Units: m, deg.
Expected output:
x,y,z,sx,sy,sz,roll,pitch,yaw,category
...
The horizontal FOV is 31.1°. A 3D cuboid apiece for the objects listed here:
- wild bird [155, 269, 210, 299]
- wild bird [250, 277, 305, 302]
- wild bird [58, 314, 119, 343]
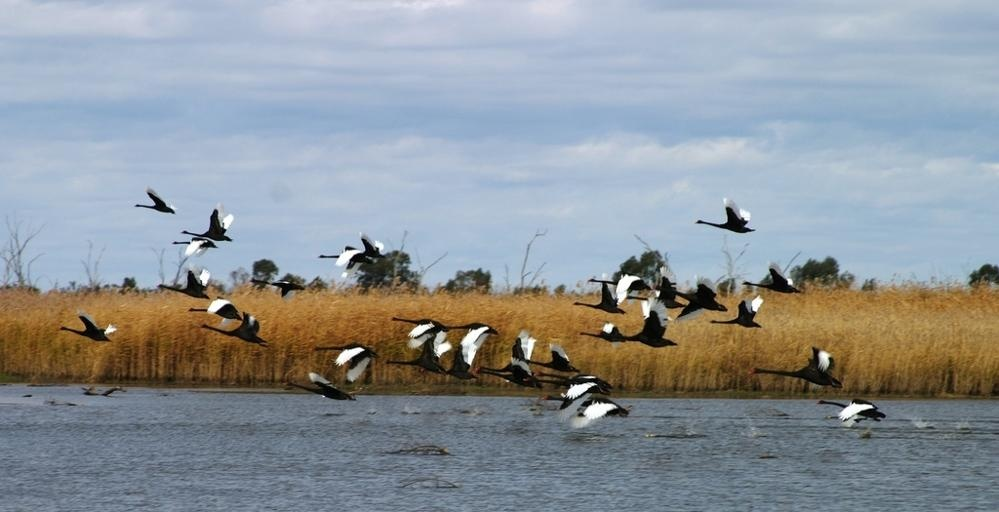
x,y,z,sx,sy,sz,roll,pitch,yaw,category
-8.455,0.881,48.884,1.403,0.263,1.391,-3,-6,-16,wild bird
-6.812,1.123,55.213,1.850,0.557,1.567,-3,-1,23,wild bird
-12.365,2.345,55.873,1.737,0.529,1.449,-5,2,-25,wild bird
